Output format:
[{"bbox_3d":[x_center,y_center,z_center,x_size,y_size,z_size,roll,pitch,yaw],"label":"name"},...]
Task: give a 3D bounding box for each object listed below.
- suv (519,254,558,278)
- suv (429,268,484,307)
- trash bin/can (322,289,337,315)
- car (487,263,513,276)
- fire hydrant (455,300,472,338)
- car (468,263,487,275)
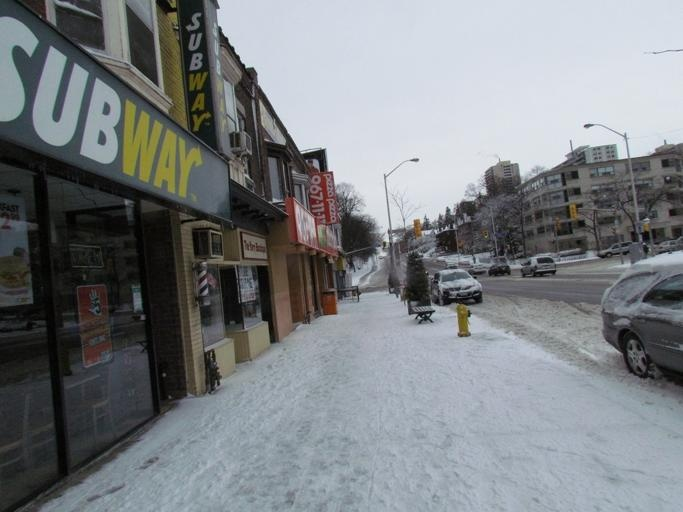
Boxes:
[{"bbox_3d":[15.978,0.888,34.423,1.517,1.344,3.035,-2,5,2],"label":"suv"},{"bbox_3d":[5.580,1.605,20.394,1.797,1.593,2.618,-5,3,3],"label":"suv"},{"bbox_3d":[-0.627,2.443,22.579,0.987,1.661,1.052,-1,-1,2],"label":"trash bin/can"},{"bbox_3d":[16.058,1.486,43.089,1.983,1.104,1.805,-3,3,34],"label":"car"},{"bbox_3d":[3.369,1.741,11.694,0.355,0.883,0.480,-3,3,16],"label":"fire hydrant"},{"bbox_3d":[18.581,1.956,57.159,1.678,0.878,3.034,-3,-5,-3],"label":"car"}]
